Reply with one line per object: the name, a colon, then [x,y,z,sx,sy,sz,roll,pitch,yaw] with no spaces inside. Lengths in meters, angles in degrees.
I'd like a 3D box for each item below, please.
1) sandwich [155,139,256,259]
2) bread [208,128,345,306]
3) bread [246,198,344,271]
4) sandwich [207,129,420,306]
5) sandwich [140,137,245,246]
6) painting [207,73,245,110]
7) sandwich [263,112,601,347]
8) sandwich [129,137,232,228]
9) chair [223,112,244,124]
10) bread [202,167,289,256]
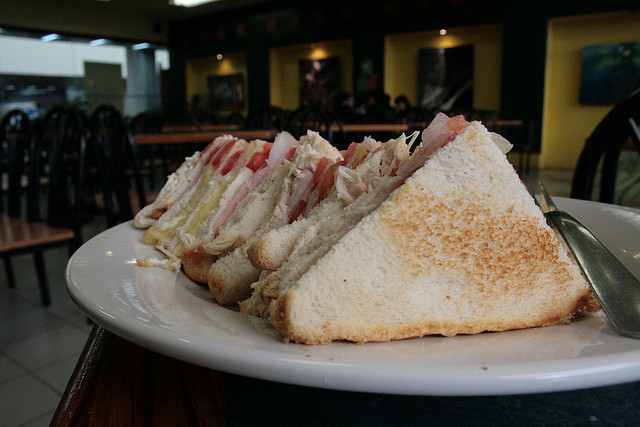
sandwich: [-0.124,-0.028,0.584,0.173,0.036,0.093,-58,23,-14]
bread: [-0.057,0.013,0.500,0.164,0.165,0.047,23,-16,-15]
bread: [-0.031,0.028,0.441,0.038,0.040,0.155,-25,1,18]
sandwich: [-0.009,-0.015,0.426,0.179,0.056,0.181,2,54,2]
sandwich: [-0.164,-0.008,0.677,0.068,0.195,0.023,19,47,23]
painting: [-1.956,-2.520,9.242,0.096,0.718,0.968,21,28,38]
sandwich: [0.068,0.027,0.344,0.193,0.062,0.201,26,37,31]
sandwich: [-0.192,-0.042,0.680,0.159,0.039,0.101,-50,31,-18]
chair: [-1.185,-1.307,6.090,0.188,0.145,0.461,-4,11,-17]
bread: [-0.066,0.006,0.509,0.095,0.033,0.092,-55,21,-24]
